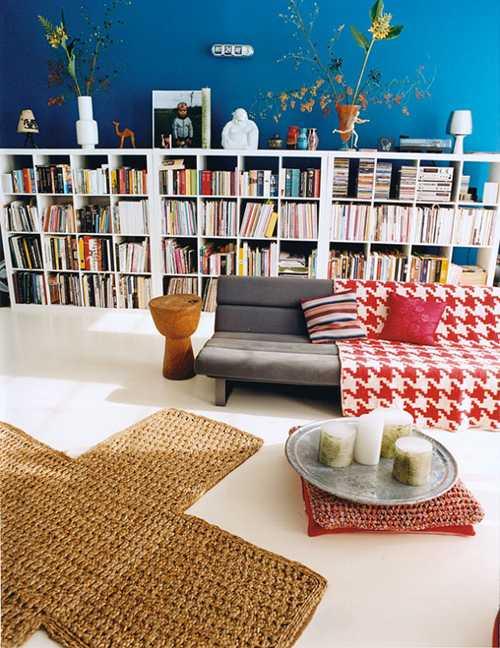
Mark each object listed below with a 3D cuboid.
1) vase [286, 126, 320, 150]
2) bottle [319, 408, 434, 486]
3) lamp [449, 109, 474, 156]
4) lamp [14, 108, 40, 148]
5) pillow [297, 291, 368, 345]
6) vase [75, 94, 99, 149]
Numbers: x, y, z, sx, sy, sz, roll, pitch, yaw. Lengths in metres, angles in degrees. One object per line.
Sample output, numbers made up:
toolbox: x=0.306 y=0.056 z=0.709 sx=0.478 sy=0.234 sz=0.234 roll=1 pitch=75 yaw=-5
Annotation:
vase: x=0.442 y=-1.609 z=4.476 sx=0.319 sy=0.250 sz=0.180 roll=0 pitch=17 yaw=-9
bottle: x=0.535 y=0.420 z=2.036 sx=0.331 sy=0.149 sz=0.302 roll=1 pitch=18 yaw=0
lamp: x=1.766 y=-1.609 z=4.320 sx=0.167 sy=0.368 sz=0.278 roll=13 pitch=21 yaw=33
lamp: x=-2.130 y=-1.876 z=4.908 sx=0.195 sy=0.364 sz=0.573 roll=-7 pitch=18 yaw=-21
pillow: x=0.543 y=-0.063 z=3.202 sx=0.347 sy=0.316 sz=0.097 roll=-8 pitch=-27 yaw=3
vase: x=-1.487 y=-1.812 z=4.646 sx=0.177 sy=0.461 sz=0.230 roll=-5 pitch=18 yaw=-16
